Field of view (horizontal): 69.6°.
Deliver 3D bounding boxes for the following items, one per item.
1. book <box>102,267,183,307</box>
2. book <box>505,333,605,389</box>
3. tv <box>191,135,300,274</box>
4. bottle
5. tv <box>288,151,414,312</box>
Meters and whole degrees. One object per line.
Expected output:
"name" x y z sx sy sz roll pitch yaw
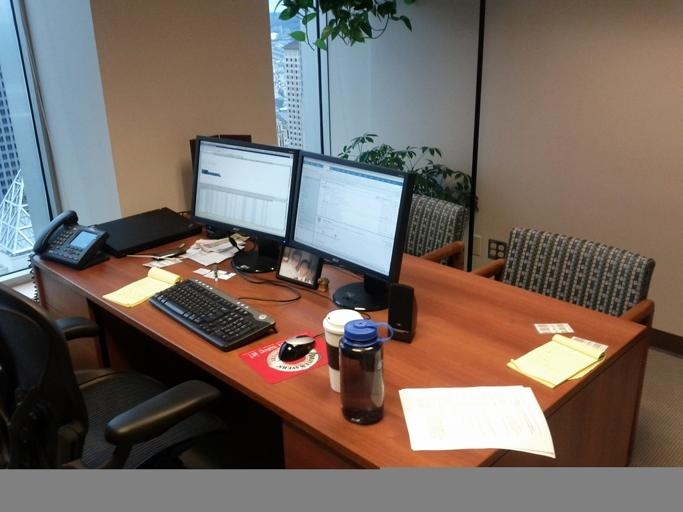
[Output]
"book" -0.782 0.131 1.911 0.150 0.047 0.190 16 27 28
"book" 0.629 0.303 1.447 0.273 0.065 0.169 -9 15 -35
"tv" -0.411 -0.207 2.081 0.478 0.465 0.203 22 22 29
"bottle" 0.056 0.283 1.217 0.126 0.261 0.093 -3 12 -12
"tv" 0.012 -0.073 1.755 0.448 0.447 0.217 24 32 37
